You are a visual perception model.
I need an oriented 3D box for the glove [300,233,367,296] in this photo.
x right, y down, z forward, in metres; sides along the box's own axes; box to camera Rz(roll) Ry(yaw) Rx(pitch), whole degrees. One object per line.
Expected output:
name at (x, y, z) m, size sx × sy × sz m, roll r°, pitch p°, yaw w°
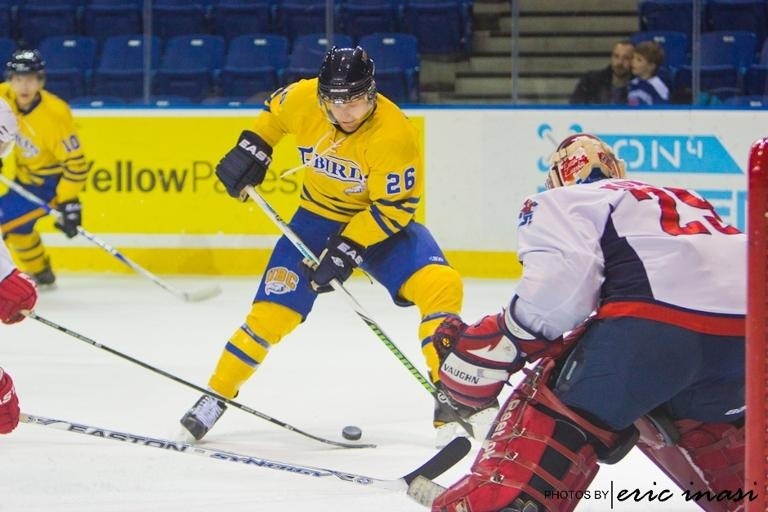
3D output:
glove at (-0.262, 0.043, 5.931) m, size 0.254 × 0.345 × 0.144 m, roll 47°, pitch 4°, yaw -6°

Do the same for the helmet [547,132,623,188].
helmet at (0.964, -0.475, 5.371) m, size 0.283 × 0.306 × 0.268 m, roll -4°, pitch 37°, yaw 5°

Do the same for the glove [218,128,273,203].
glove at (-0.788, -0.489, 6.235) m, size 0.285 × 0.385 × 0.173 m, roll 45°, pitch 10°, yaw 29°

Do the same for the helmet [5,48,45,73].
helmet at (-2.673, -1.438, 8.265) m, size 0.245 × 0.182 × 0.249 m, roll 1°, pitch 10°, yaw -36°

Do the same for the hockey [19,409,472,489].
hockey at (-0.754, 1.028, 5.807) m, size 1.760 × 0.182 × 0.194 m, roll 5°, pitch -25°, yaw 10°

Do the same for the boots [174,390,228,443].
boots at (-0.987, 0.884, 6.018) m, size 0.140 × 0.139 × 0.249 m, roll 32°, pitch 30°, yaw 9°

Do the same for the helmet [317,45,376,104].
helmet at (-0.181, -0.996, 6.025) m, size 0.289 × 0.313 × 0.320 m, roll -1°, pitch 32°, yaw 7°
